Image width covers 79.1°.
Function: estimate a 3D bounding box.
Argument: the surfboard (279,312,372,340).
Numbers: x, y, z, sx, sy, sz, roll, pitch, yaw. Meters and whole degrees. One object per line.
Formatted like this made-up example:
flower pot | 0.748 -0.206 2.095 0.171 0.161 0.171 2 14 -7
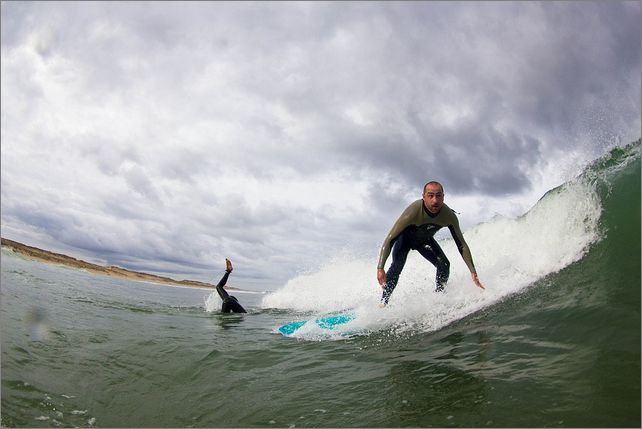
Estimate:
surfboard | 0.104 3.113 10.411 2.616 0.726 0.444 -4 -50 10
